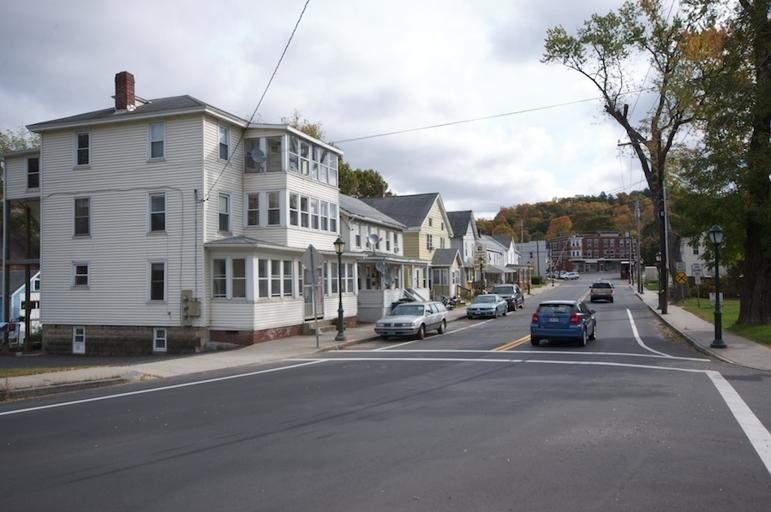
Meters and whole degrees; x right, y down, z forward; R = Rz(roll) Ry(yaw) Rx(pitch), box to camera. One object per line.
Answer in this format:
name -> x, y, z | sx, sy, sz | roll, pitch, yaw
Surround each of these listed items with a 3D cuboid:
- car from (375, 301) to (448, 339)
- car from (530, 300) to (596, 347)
car -> 1.328, 3.285, 34.331 | 1.774, 1.685, 4.020 | 3, 7, 33
car -> 7.708, 2.924, 29.503 | 3.028, 1.977, 1.696 | -3, 6, -27
